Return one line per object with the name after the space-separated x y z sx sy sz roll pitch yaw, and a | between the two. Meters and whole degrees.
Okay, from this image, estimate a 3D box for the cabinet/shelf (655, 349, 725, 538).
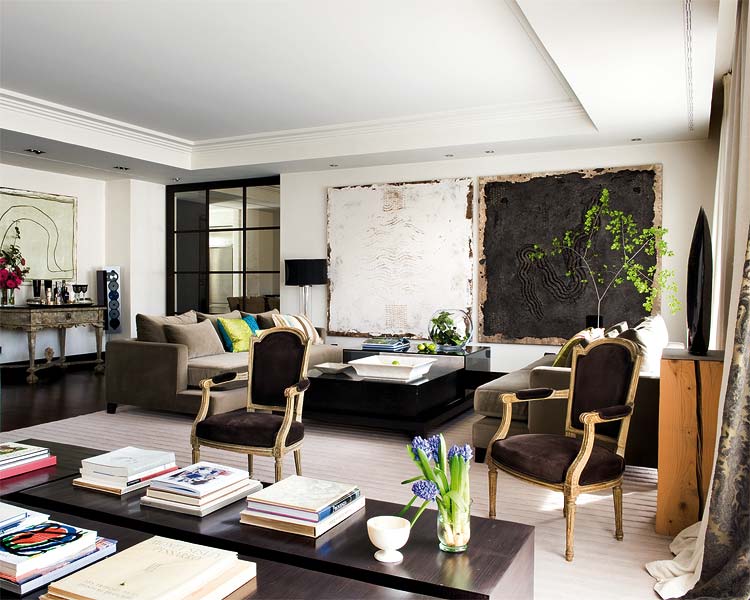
1.688 0.803 2.900 0.285 0.964 0.141 4 3 28 | cabinet/shelf

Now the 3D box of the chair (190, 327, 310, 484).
-0.803 0.702 3.423 0.771 0.988 0.735 1 0 -16 | chair

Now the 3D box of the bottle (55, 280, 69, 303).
-4.698 -0.129 8.020 0.201 0.319 0.632 0 3 -31 | bottle

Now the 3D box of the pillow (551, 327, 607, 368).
1.532 0.281 3.991 0.332 0.391 0.118 -10 2 19 | pillow

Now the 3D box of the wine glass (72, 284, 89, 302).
-4.544 -0.110 8.209 0.251 0.240 0.199 3 7 26 | wine glass

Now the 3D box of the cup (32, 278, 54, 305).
-4.789 -0.124 7.730 0.277 0.335 0.518 0 3 -31 | cup

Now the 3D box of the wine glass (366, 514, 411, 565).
0.048 0.756 1.668 0.109 0.080 0.108 0 -9 5 | wine glass

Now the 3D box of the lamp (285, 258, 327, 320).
-1.022 -0.147 7.699 0.510 0.802 0.507 2 2 -5 | lamp
